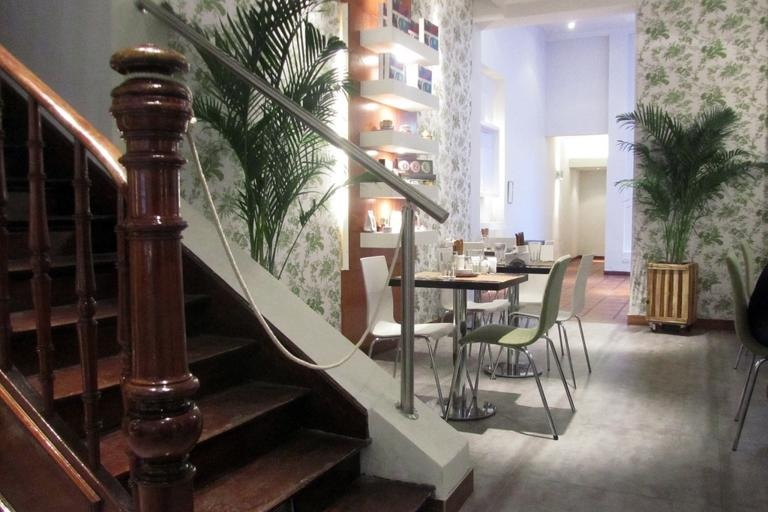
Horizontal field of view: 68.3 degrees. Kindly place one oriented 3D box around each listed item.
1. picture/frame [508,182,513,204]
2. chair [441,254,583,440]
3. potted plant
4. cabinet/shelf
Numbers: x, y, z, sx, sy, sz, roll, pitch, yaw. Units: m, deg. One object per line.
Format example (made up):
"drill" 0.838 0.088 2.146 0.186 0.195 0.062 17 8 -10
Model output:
"picture/frame" 2.396 -1.209 10.705 0.039 0.410 0.334 2 7 23
"chair" 0.916 0.609 4.127 0.912 1.208 0.770 3 5 37
"potted plant" 3.665 -0.524 7.048 1.363 2.820 0.853 4 8 32
"cabinet/shelf" 0.300 -1.675 6.402 0.545 2.008 1.807 2 7 21
